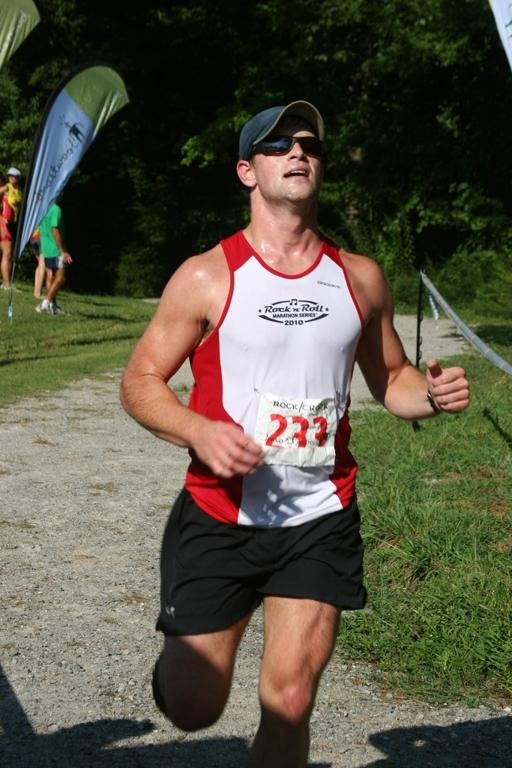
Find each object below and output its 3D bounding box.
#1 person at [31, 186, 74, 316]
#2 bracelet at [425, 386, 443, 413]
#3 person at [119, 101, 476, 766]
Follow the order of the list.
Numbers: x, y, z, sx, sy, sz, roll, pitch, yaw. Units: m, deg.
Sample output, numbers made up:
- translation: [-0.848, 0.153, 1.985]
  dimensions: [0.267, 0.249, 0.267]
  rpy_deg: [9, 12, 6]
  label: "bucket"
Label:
- translation: [-3.865, -2.683, 13.900]
  dimensions: [0.779, 2.152, 0.653]
  rpy_deg: [-2, 13, -29]
  label: "person"
- translation: [0.480, 0.041, 2.033]
  dimensions: [0.024, 0.058, 0.046]
  rpy_deg: [-40, -8, 25]
  label: "bracelet"
- translation: [0.082, 0.059, 1.926]
  dimensions: [0.688, 1.574, 0.813]
  rpy_deg: [9, 15, 43]
  label: "person"
